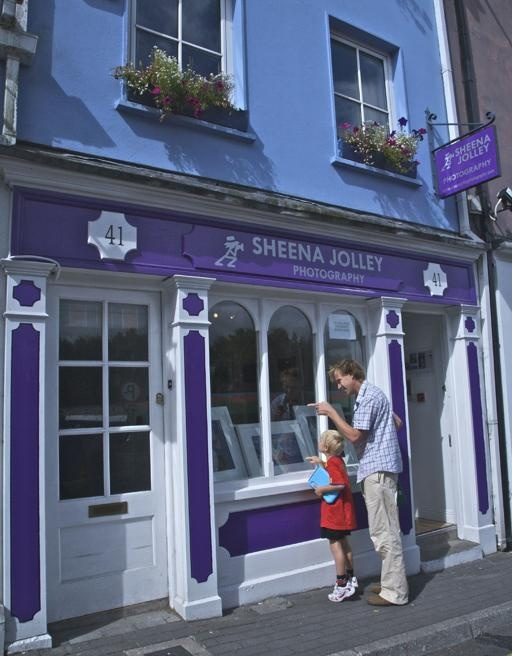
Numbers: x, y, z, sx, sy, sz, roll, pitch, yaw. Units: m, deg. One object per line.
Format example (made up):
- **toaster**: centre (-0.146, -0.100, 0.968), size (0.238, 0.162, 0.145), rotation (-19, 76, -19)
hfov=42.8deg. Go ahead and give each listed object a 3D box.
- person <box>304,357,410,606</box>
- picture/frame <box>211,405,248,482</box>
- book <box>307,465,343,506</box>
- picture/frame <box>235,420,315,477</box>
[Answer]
- **person**: centre (0.888, 1.199, 5.111), size (0.641, 1.869, 0.370), rotation (2, -2, 17)
- **picture/frame**: centre (-0.231, 0.969, 5.386), size (0.025, 0.561, 0.604), rotation (-15, -5, 26)
- **book**: centre (0.549, 1.208, 5.145), size (0.059, 0.198, 0.263), rotation (7, 33, -30)
- **picture/frame**: centre (0.135, 1.044, 5.647), size (0.476, 0.322, 0.023), rotation (-9, -7, -44)
